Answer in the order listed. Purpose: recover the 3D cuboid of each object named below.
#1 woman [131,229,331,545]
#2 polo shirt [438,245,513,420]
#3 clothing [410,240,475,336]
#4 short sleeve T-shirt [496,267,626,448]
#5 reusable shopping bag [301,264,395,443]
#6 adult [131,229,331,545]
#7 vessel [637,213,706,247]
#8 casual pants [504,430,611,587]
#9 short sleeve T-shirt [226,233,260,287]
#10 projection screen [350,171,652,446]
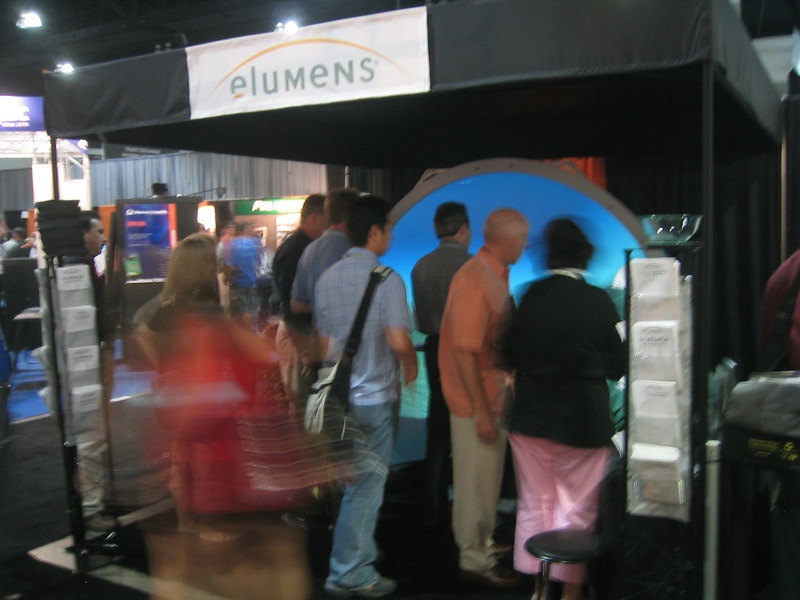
[{"bbox_3d":[-0.821,0.365,3.538,0.597,1.244,1.284,-5,10,-20],"label":"woman"},{"bbox_3d":[0.389,0.169,3.890,0.400,0.945,0.795,0,8,4],"label":"polo shirt"},{"bbox_3d":[0.261,-0.065,4.505,0.370,0.525,0.272,2,14,29],"label":"clothing"},{"bbox_3d":[0.776,0.284,3.810,0.623,0.832,0.482,2,6,16],"label":"short sleeve T-shirt"},{"bbox_3d":[-0.268,0.273,3.803,0.178,0.935,0.245,17,10,-4],"label":"reusable shopping bag"},{"bbox_3d":[-0.786,0.364,3.539,0.527,1.244,1.303,-6,10,-28],"label":"adult"},{"bbox_3d":[1.143,-0.305,3.308,0.239,0.109,0.367,1,10,19],"label":"vessel"},{"bbox_3d":[0.838,1.002,4.168,0.589,0.971,0.626,2,-3,26],"label":"casual pants"},{"bbox_3d":[-1.106,-0.253,5.853,0.287,0.413,0.227,-7,-17,0],"label":"short sleeve T-shirt"},{"bbox_3d":[0.510,0.054,3.901,1.492,1.616,0.362,-2,-1,16],"label":"projection screen"}]
